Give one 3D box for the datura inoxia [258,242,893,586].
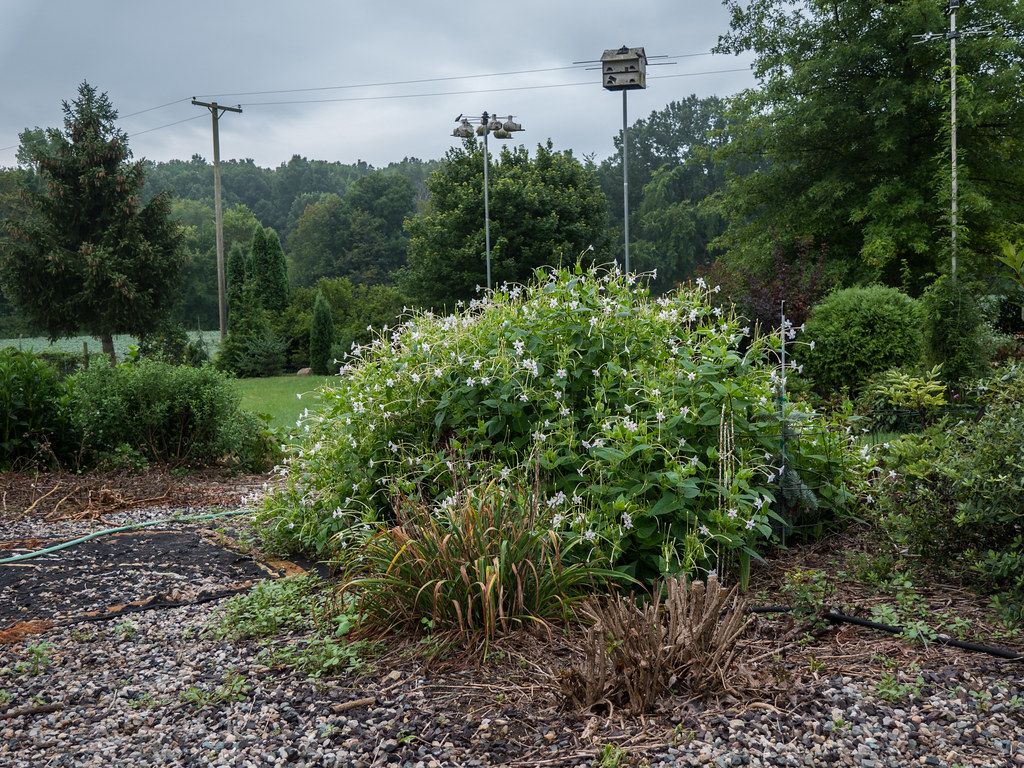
[{"bbox_3d":[0.827,0.326,7.793,3.000,2.025,3.229,-5,-3,17],"label":"datura inoxia"}]
